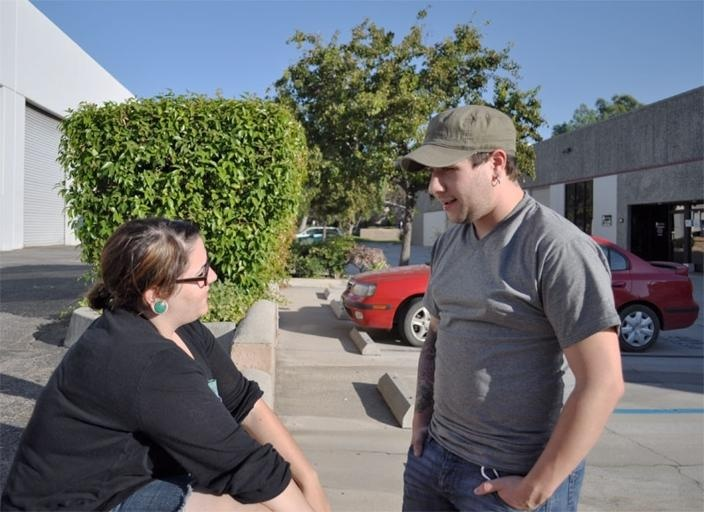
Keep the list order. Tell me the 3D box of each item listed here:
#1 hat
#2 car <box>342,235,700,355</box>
[{"bbox_3d":[0.500,-0.554,2.514,0.585,0.295,0.397,-1,9,-13],"label":"hat"},{"bbox_3d":[2.649,0.673,8.952,5.077,1.844,2.232,3,-4,-3],"label":"car"}]
